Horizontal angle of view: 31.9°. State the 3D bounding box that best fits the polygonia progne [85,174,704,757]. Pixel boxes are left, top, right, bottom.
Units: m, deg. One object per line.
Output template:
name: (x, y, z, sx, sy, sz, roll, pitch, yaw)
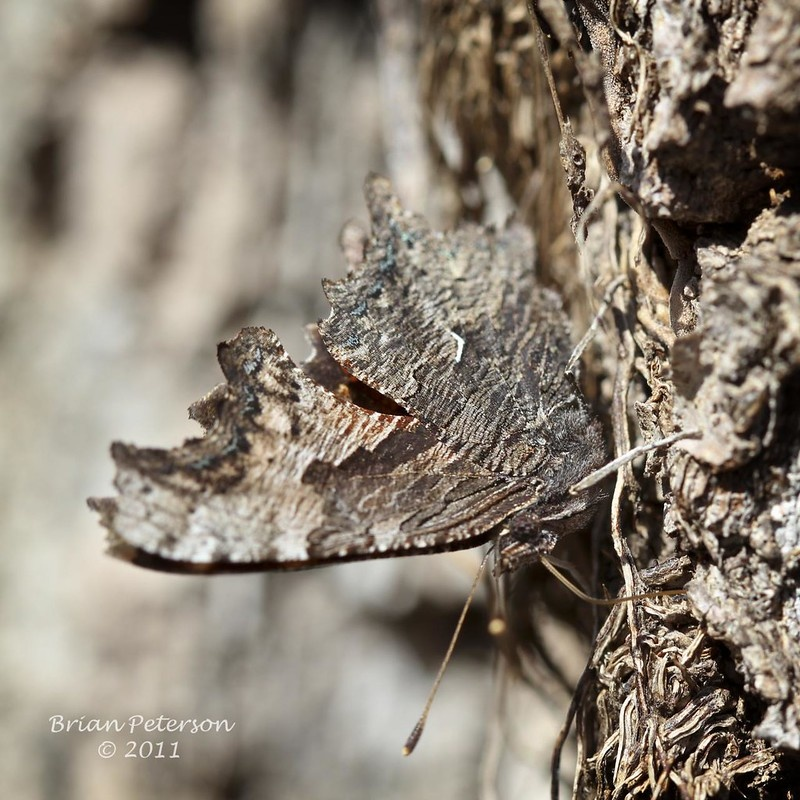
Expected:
polygonia progne: (-0.005, -0.035, 1.393, 0.544, 0.215, 0.417, 9, 47, -7)
